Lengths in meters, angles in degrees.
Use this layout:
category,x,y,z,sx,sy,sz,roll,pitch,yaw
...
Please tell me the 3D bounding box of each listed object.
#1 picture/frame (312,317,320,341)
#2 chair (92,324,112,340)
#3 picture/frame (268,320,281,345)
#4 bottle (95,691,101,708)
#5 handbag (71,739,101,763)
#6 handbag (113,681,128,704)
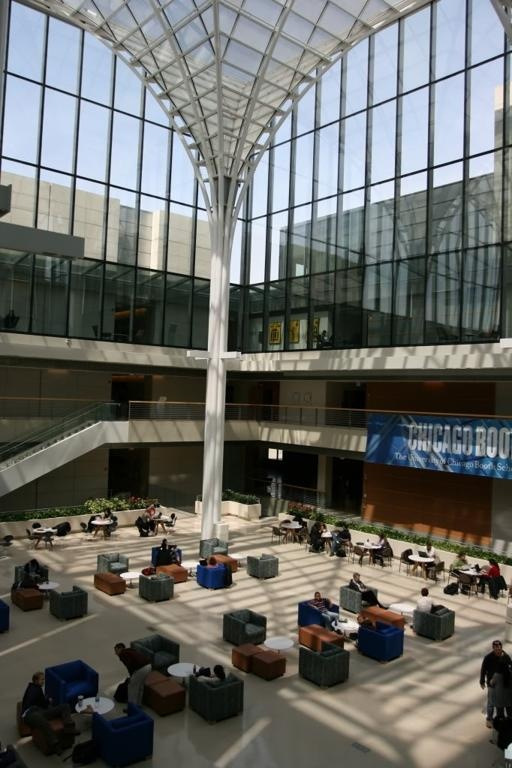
category,x,y,z,sx,sy,sz,roll,pitch,yaw
picture/frame,2.659,-2.466,26.355,0.086,1.062,0.520,5,-5,-28
chair,-6.755,-2.280,26.083,0.776,0.820,0.467,0,1,-10
picture/frame,0.920,-2.513,28.823,0.053,1.306,1.077,4,-5,-28
bottle,-2.282,4.570,8.607,0.089,0.180,0.098,-1,0,-16
handbag,-2.228,4.793,7.769,0.304,0.310,0.225,-1,-13,19
handbag,-2.135,4.841,9.368,0.222,0.410,0.190,3,-5,-14
